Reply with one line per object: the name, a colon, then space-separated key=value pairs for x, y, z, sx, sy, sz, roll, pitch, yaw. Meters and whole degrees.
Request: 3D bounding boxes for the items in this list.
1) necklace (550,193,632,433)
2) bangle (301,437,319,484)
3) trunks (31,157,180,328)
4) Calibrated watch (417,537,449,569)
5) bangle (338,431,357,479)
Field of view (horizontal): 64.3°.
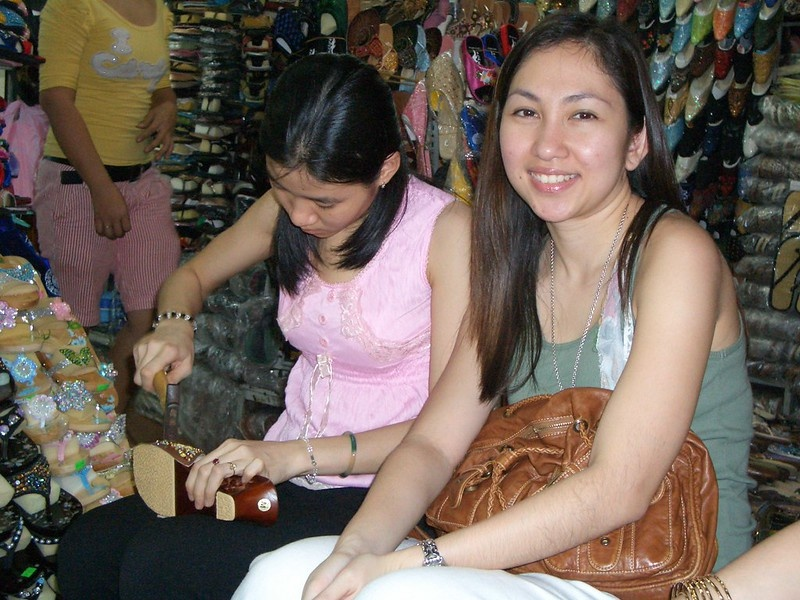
necklace: x=0.424 y=0.032 z=1.501 sx=0.134 sy=0.548 sz=0.019 roll=2 pitch=-9 yaw=43
bangle: x=-0.218 y=0.397 z=1.585 sx=0.058 sy=0.104 sz=0.026 roll=-4 pitch=-2 yaw=15
trunks: x=-1.368 y=-0.358 z=3.030 sx=0.576 sy=0.863 sz=0.335 roll=-14 pitch=41 yaw=-34
Calibrated watch: x=0.061 y=0.487 z=1.221 sx=0.028 sy=0.052 sz=0.048 roll=-9 pitch=8 yaw=-7
bangle: x=-0.122 y=0.391 z=1.565 sx=0.018 sy=0.087 sz=0.072 roll=4 pitch=-24 yaw=-20
